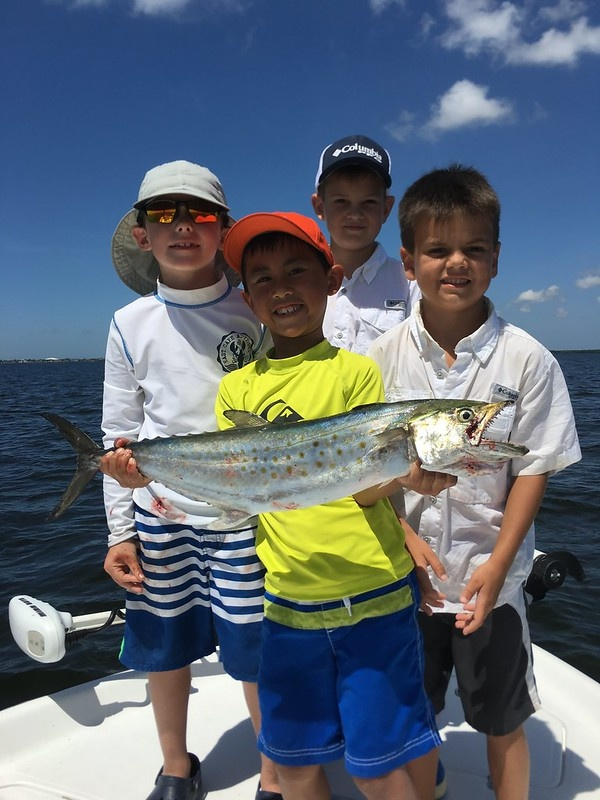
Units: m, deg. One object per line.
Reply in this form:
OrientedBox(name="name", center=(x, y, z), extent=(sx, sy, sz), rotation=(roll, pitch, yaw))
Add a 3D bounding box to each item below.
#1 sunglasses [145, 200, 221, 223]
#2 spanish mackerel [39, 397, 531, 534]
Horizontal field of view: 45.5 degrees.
OrientedBox(name="sunglasses", center=(-0.573, -0.906, 3.432), extent=(0.182, 0.046, 0.170), rotation=(0, -7, -12))
OrientedBox(name="spanish mackerel", center=(0.007, 0.270, 2.990), extent=(2.059, 0.522, 0.453), rotation=(-8, -25, 17))
